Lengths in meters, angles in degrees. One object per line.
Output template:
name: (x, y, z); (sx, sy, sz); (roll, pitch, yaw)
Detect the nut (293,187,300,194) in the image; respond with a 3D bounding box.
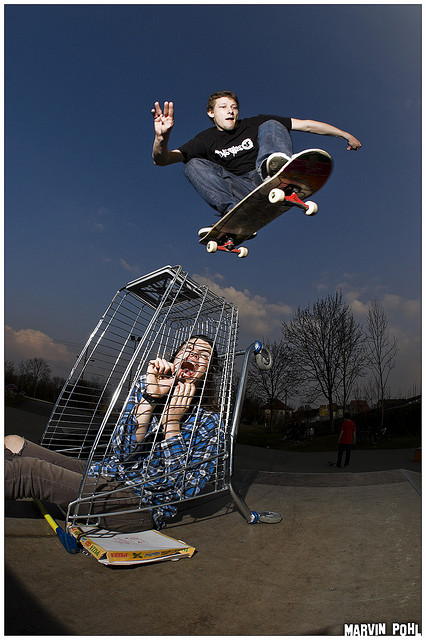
nut: (0.666, -1.047, 3.193); (0.036, 0.038, 0.066); (5, 14, 1)

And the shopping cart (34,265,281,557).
shopping cart: (-0.300, 0.370, 2.069); (1.168, 1.156, 0.973); (12, -12, -27)

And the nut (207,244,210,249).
nut: (-0.046, -0.703, 3.764); (0.024, 0.035, 0.037); (4, -11, -4)
